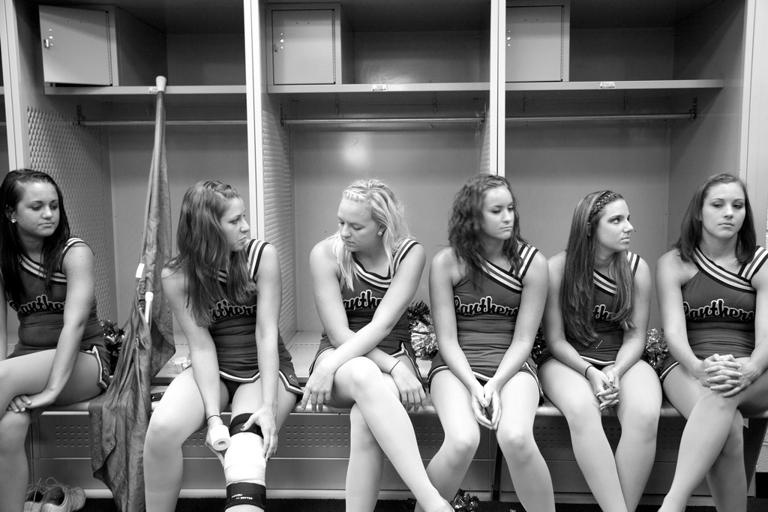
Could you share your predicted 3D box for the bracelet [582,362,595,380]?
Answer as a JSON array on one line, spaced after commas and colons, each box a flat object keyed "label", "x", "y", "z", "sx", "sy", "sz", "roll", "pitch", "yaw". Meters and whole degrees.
[{"label": "bracelet", "x": 1.103, "y": 0.613, "z": 4.191, "sx": 0.060, "sy": 0.064, "sz": 0.058, "roll": -18, "pitch": -23, "yaw": 6}]

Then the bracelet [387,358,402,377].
[{"label": "bracelet", "x": 0.055, "y": 0.588, "z": 4.115, "sx": 0.055, "sy": 0.079, "sz": 0.066, "roll": 11, "pitch": -3, "yaw": 5}]
